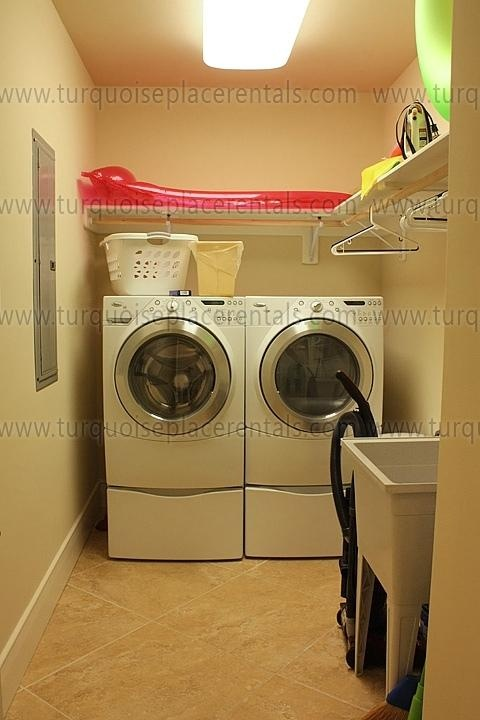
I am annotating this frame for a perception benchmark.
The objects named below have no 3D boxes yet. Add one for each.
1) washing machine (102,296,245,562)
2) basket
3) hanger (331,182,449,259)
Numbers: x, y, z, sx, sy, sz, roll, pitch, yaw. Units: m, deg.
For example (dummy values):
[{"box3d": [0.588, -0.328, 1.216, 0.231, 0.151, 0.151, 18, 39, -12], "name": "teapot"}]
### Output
[{"box3d": [-0.288, 0.254, 2.586, 0.596, 1.169, 0.717, 0, 8, -9], "name": "washing machine"}, {"box3d": [-0.385, -0.406, 2.436, 0.440, 0.289, 0.491, 0, 6, -2], "name": "basket"}, {"box3d": [0.631, -0.594, 2.251, 0.398, 0.199, 0.792, -1, 4, -8], "name": "hanger"}]
